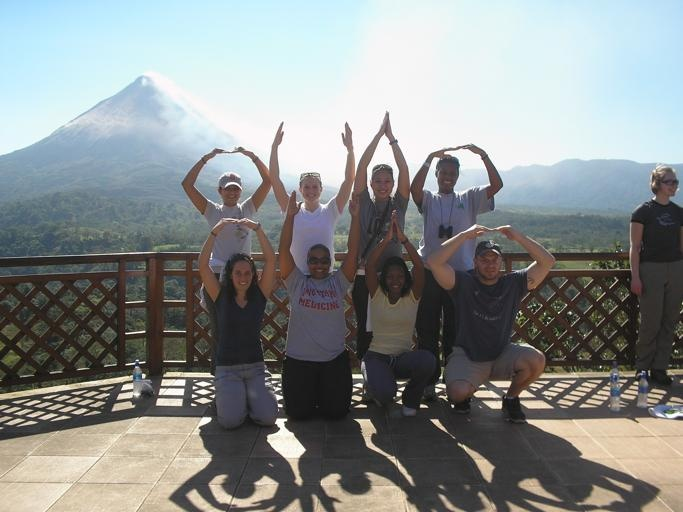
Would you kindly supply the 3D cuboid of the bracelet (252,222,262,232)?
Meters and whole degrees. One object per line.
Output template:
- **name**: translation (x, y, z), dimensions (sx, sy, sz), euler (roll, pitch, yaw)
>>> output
- **bracelet**: translation (-0.705, -0.250, 4.248), dimensions (0.049, 0.074, 0.028), euler (-3, -9, 5)

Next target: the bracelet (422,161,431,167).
- **bracelet**: translation (0.773, -0.824, 4.528), dimensions (0.103, 0.052, 0.050), euler (-8, 13, -41)

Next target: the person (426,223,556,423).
- **person**: translation (1.211, 0.528, 4.233), dimensions (1.007, 1.570, 0.541), euler (2, 10, 10)

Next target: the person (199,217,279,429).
- **person**: translation (-0.824, 0.514, 4.078), dimensions (0.599, 1.585, 0.604), euler (-3, 10, -16)

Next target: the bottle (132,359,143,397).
- **bottle**: translation (-1.861, 1.073, 4.591), dimensions (0.086, 0.293, 0.354), euler (-4, 11, -23)

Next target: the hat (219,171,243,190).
- **hat**: translation (-1.005, -0.680, 4.516), dimensions (0.206, 0.146, 0.249), euler (-2, 10, -12)

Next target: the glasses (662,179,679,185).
- **glasses**: translation (3.111, -0.702, 4.773), dimensions (0.143, 0.086, 0.093), euler (-3, 10, -20)

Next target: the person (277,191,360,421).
- **person**: translation (-0.228, 0.409, 4.432), dimensions (0.643, 1.869, 0.527), euler (2, -26, -1)

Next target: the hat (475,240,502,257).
- **hat**: translation (1.206, -0.071, 4.171), dimensions (0.200, 0.131, 0.198), euler (3, 10, 16)
